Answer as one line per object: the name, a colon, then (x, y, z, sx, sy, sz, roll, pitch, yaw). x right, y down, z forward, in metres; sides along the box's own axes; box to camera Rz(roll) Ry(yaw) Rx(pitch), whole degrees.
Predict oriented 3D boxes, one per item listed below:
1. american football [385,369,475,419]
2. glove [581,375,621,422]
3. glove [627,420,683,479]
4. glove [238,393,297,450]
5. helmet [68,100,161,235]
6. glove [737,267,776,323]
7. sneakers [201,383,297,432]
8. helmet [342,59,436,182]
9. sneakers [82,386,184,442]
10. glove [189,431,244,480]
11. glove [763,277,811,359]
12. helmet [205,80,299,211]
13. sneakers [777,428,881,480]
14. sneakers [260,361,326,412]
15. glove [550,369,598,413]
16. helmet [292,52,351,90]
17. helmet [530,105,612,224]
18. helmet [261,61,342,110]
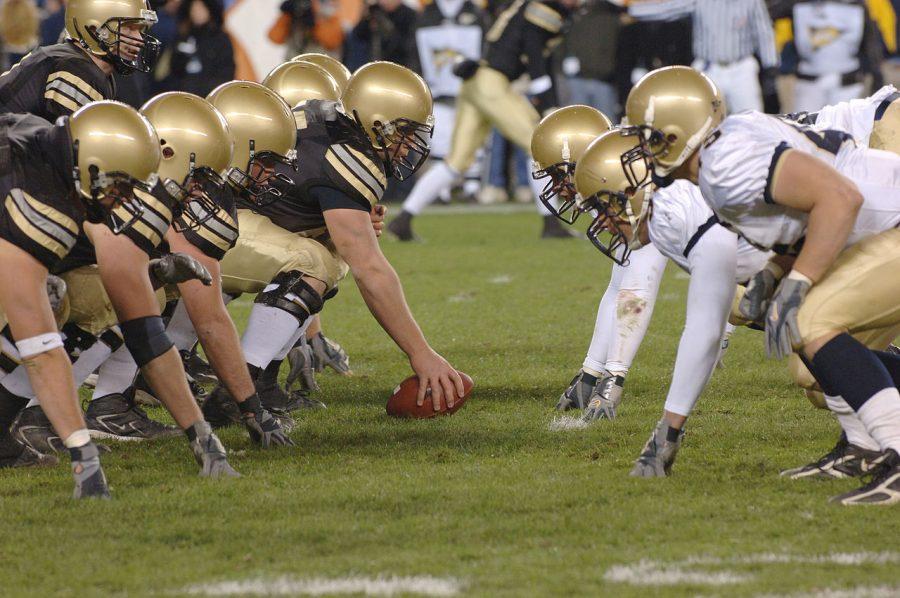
american football: (-0.085, 0.369, 5.603, 0.278, 0.171, 0.173, -11, 44, -7)
glove: (0.597, 0.379, 5.554, 0.123, 0.078, 0.199, 30, 51, -13)
glove: (0.720, 0.524, 4.972, 0.136, 0.224, 0.087, 28, -11, -12)
glove: (-0.691, 0.459, 5.284, 0.237, 0.079, 0.147, 47, 6, -32)
helmet: (-1.186, -0.462, 4.847, 0.419, 0.434, 0.345, 3, 2, 18)
glove: (1.053, -0.022, 4.902, 0.084, 0.085, 0.290, 9, 28, 24)
sneakers: (-0.768, 0.397, 5.519, 0.394, 0.168, 0.130, 10, 38, 11)
helmet: (-0.251, -0.722, 5.567, 0.424, 0.409, 0.336, 15, 12, -14)
sneakers: (-1.174, 0.431, 5.462, 0.438, 0.225, 0.150, 5, 5, -15)
glove: (-0.827, 0.575, 5.022, 0.120, 0.193, 0.076, -26, -16, -26)
glove: (1.089, 0.057, 4.645, 0.148, 0.251, 0.080, 14, -5, -12)
helmet: (-0.779, -0.605, 5.379, 0.422, 0.429, 0.337, 9, 3, 8)
sneakers: (1.324, 0.537, 4.951, 0.411, 0.184, 0.144, 2, -1, -24)
sneakers: (-0.660, 0.356, 5.685, 0.287, 0.191, 0.101, -2, -6, -27)
glove: (0.512, 0.365, 5.668, 0.089, 0.246, 0.109, 34, 2, 22)
helmet: (-0.568, -1.032, 6.355, 0.246, 0.079, 0.244, 1, -1, -1)
helmet: (0.533, -0.557, 5.808, 0.427, 0.488, 0.367, -9, 11, -8)
helmet: (-0.627, -0.909, 6.018, 0.276, 0.224, 0.230, 8, 41, 4)
